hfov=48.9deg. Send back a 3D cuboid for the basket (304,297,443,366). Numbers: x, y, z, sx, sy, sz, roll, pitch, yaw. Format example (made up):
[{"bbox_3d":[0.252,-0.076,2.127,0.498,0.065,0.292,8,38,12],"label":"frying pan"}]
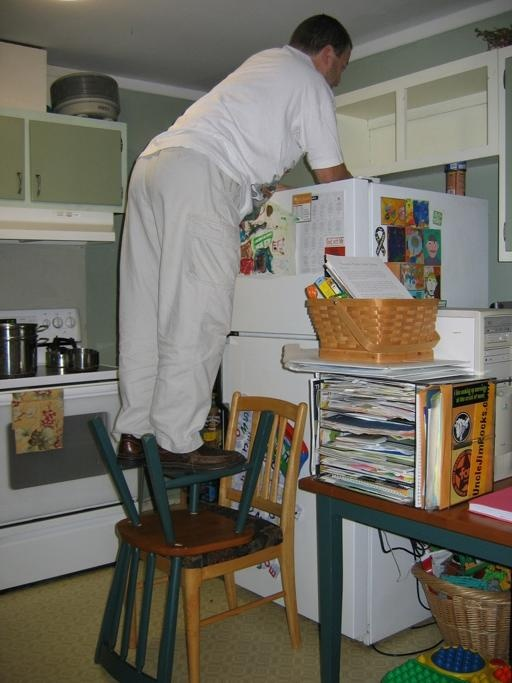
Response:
[{"bbox_3d":[0.243,-0.027,1.261,0.174,0.096,0.198,-1,1,-29],"label":"basket"}]

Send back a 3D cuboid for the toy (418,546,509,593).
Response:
[{"bbox_3d":[0.641,0.693,1.698,0.172,0.066,0.183,2,2,12],"label":"toy"}]

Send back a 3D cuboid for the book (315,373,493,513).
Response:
[{"bbox_3d":[0.332,0.176,1.205,0.278,0.217,0.269,-1,4,-42],"label":"book"}]

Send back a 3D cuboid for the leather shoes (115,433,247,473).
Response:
[{"bbox_3d":[-0.199,0.267,1.483,0.367,0.144,0.127,-1,-2,-1],"label":"leather shoes"}]

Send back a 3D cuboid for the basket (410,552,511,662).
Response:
[{"bbox_3d":[0.583,0.715,1.578,0.286,0.200,0.278,-1,1,-26],"label":"basket"}]
